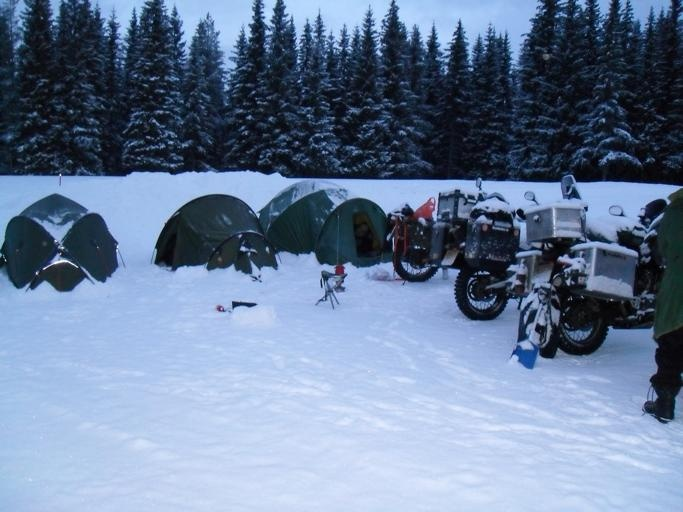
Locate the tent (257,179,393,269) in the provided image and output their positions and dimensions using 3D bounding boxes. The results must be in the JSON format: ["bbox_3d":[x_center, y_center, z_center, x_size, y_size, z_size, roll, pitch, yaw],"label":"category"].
[{"bbox_3d":[-0.525,-0.875,18.396,2.093,1.140,2.684,-17,28,-38],"label":"tent"}]

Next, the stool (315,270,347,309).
[{"bbox_3d":[-0.218,0.704,14.949,0.378,0.658,0.444,8,-4,-3],"label":"stool"}]

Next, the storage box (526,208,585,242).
[{"bbox_3d":[3.626,-0.625,11.967,0.634,0.506,0.659,-3,6,-24],"label":"storage box"}]

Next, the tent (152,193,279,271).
[{"bbox_3d":[-2.956,-0.451,16.940,2.222,1.284,1.835,13,15,38],"label":"tent"}]
